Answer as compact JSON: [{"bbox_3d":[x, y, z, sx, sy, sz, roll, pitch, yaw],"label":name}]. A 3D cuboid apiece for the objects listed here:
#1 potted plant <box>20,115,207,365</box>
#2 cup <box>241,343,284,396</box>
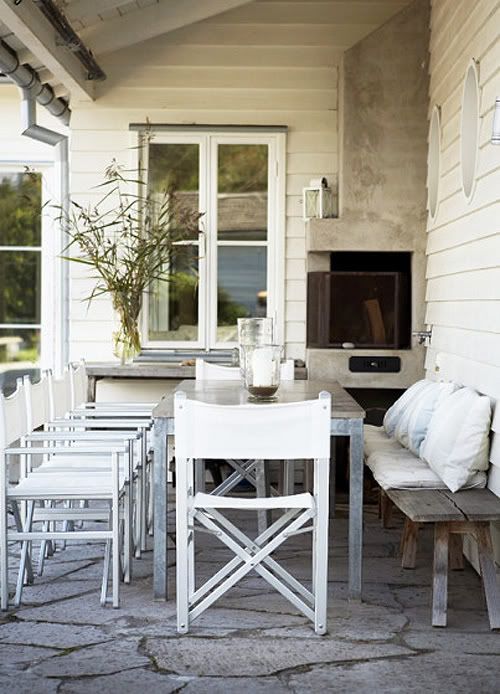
[{"bbox_3d":[-0.891,-0.713,4.834,1.118,1.524,0.552,1,0,-4],"label":"potted plant"},{"bbox_3d":[0.045,0.090,2.851,0.196,0.244,0.184,0,-4,0],"label":"cup"}]
